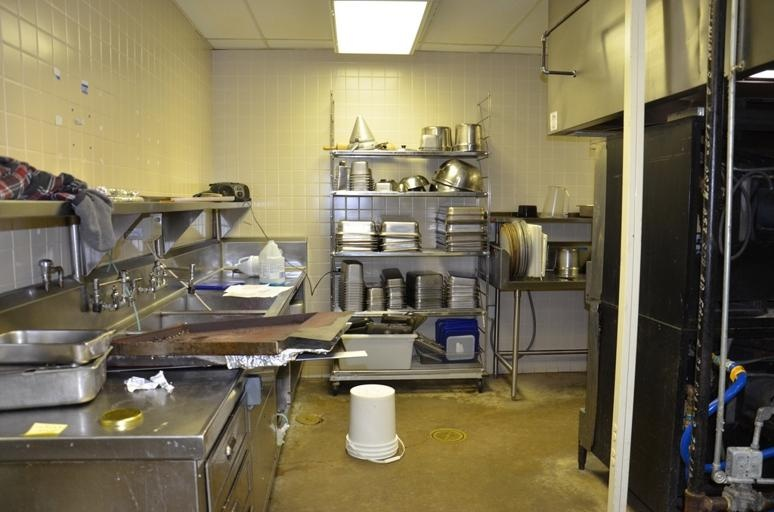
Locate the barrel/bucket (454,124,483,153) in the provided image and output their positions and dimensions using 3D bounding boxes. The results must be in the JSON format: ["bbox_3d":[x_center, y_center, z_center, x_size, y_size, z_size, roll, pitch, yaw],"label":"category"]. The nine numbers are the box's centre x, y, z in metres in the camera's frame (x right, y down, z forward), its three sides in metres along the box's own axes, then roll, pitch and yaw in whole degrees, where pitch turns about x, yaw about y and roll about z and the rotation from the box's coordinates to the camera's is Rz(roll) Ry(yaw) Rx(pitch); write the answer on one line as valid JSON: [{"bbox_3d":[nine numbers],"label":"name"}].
[{"bbox_3d":[0.677,-0.989,4.997,0.238,0.227,0.240,1,1,0],"label":"barrel/bucket"}]

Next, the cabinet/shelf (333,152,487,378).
[{"bbox_3d":[0.216,0.105,5.065,1.448,2.004,0.905,-1,12,-7],"label":"cabinet/shelf"}]

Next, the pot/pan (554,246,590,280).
[{"bbox_3d":[1.596,0.066,5.013,0.283,0.292,0.292,1,-3,2],"label":"pot/pan"}]

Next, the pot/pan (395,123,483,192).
[{"bbox_3d":[0.452,-0.833,4.925,0.669,0.557,0.375,1,12,1],"label":"pot/pan"}]

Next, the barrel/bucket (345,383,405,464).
[{"bbox_3d":[-0.117,1.093,3.976,0.486,0.440,0.429,0,3,-7],"label":"barrel/bucket"}]

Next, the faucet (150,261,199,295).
[{"bbox_3d":[-1.460,0.149,4.005,0.221,0.127,0.212,4,2,-10],"label":"faucet"}]
